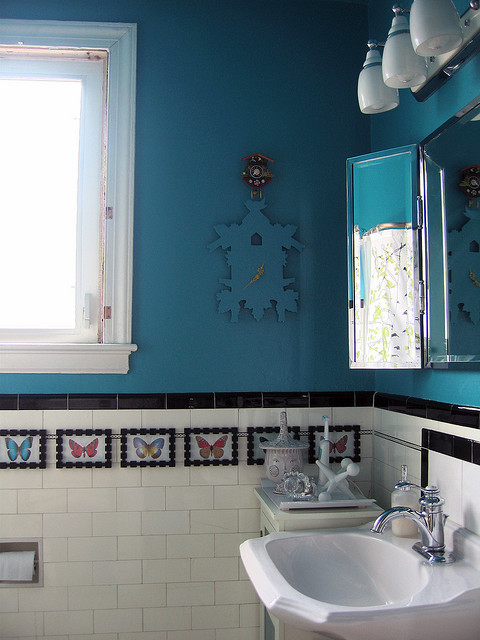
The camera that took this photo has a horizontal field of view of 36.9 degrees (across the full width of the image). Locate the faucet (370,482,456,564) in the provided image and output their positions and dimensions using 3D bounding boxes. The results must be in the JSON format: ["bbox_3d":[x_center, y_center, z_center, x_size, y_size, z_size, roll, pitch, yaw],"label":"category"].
[{"bbox_3d":[0.469,0.523,1.881,0.232,0.196,0.143,-1,3,-9],"label":"faucet"}]

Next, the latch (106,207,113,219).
[{"bbox_3d":[-0.462,-0.380,2.536,0.023,0.039,0.015,0,11,-3],"label":"latch"}]

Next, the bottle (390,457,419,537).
[{"bbox_3d":[0.491,0.511,2.061,0.095,0.203,0.096,-4,7,1],"label":"bottle"}]

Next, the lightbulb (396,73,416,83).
[{"bbox_3d":[0.461,-0.648,1.916,0.045,0.018,0.050,3,11,11],"label":"lightbulb"}]

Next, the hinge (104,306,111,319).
[{"bbox_3d":[-0.465,-0.028,2.515,0.023,0.042,0.018,-1,12,-8],"label":"hinge"}]

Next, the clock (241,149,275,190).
[{"bbox_3d":[0.071,-0.542,2.573,0.114,0.137,0.016,0,33,2],"label":"clock"}]

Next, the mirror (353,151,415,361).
[{"bbox_3d":[0.474,-0.191,2.240,0.107,0.653,0.350,-5,13,-26],"label":"mirror"}]

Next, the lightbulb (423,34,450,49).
[{"bbox_3d":[0.499,-0.680,1.755,0.063,0.022,0.045,5,12,22],"label":"lightbulb"}]
